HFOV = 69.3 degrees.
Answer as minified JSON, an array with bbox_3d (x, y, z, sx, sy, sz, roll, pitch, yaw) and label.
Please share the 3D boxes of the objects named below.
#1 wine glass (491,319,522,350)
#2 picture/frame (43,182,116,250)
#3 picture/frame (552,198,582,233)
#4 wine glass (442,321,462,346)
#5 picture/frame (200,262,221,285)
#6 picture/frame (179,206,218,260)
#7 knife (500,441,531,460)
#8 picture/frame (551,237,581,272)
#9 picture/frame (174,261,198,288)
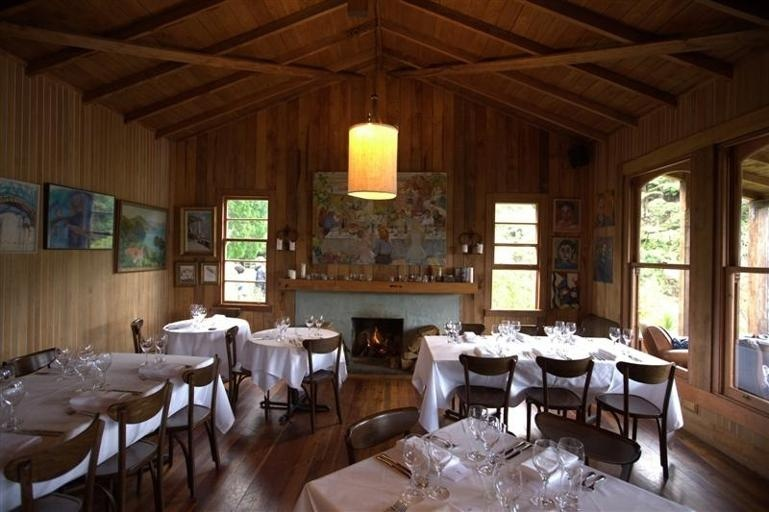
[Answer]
[{"bbox_3d":[1.516,0.979,6.947,0.311,0.329,0.329,0,-7,15],"label":"wine glass"},{"bbox_3d":[-3.990,-0.522,7.182,0.111,0.782,0.890,1,-1,25],"label":"picture/frame"},{"bbox_3d":[2.864,-0.652,8.699,0.485,0.685,0.051,0,-1,-1],"label":"picture/frame"},{"bbox_3d":[0.840,0.963,6.988,0.215,0.267,0.233,4,4,40],"label":"wine glass"},{"bbox_3d":[-2.785,0.268,8.884,0.326,0.455,0.047,1,1,-6],"label":"picture/frame"},{"bbox_3d":[-2.985,-0.406,8.887,0.769,1.148,0.120,0,-1,-4],"label":"picture/frame"},{"bbox_3d":[1.129,1.661,4.744,0.098,0.015,0.308,1,5,39],"label":"knife"},{"bbox_3d":[2.857,-0.035,8.697,0.483,0.687,0.050,1,-3,-2],"label":"picture/frame"},{"bbox_3d":[-3.177,0.280,8.888,0.367,0.490,0.034,0,0,-6],"label":"picture/frame"}]
